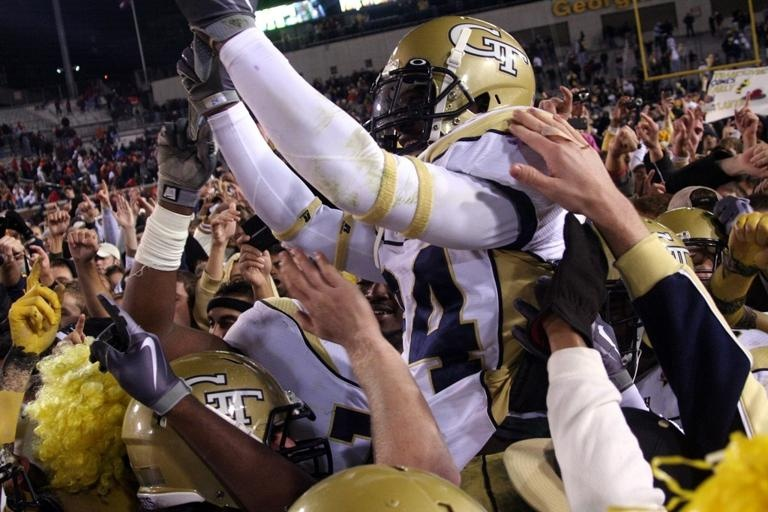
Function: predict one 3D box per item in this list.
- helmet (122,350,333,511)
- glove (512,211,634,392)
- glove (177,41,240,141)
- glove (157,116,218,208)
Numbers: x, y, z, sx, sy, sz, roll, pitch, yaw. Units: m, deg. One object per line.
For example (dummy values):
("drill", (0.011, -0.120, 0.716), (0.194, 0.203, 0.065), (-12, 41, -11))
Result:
("helmet", (-0.520, 0.552, 1.964), (0.645, 0.435, 0.452), (-3, -13, -15))
("glove", (0.515, 0.191, 1.744), (0.174, 0.465, 0.353), (-5, 30, 47))
("glove", (-0.592, -0.641, 2.104), (0.260, 0.373, 0.165), (13, 36, 38))
("glove", (-0.848, -0.397, 2.456), (0.264, 0.374, 0.155), (12, 8, 22))
